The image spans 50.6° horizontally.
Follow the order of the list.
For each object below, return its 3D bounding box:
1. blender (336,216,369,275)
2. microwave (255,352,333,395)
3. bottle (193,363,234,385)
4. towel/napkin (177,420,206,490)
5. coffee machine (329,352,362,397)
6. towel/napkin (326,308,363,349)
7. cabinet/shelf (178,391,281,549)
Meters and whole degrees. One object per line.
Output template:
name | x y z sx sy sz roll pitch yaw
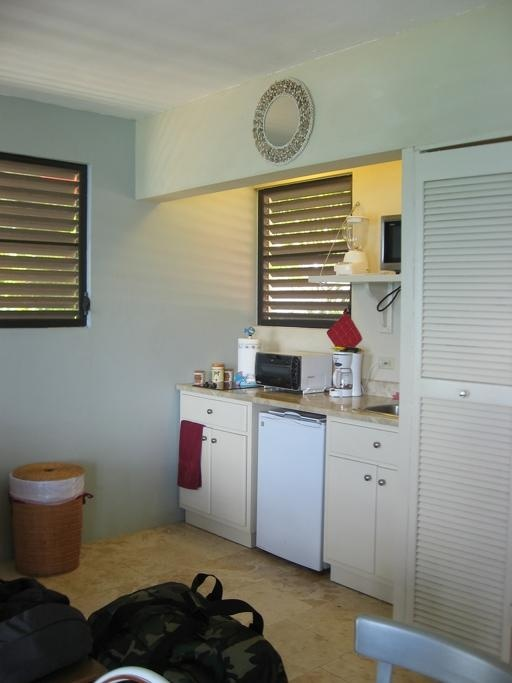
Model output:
blender | 0.571 -0.588 3.243 0.180 0.406 0.274 1 0 20
microwave | 0.272 0.192 3.441 0.276 0.228 0.344 2 0 -40
bottle | -0.334 0.221 3.791 0.330 0.173 0.123 3 3 44
towel/napkin | -0.437 0.749 3.598 0.230 0.424 0.041 -6 -12 43
coffee machine | 0.557 0.192 3.235 0.235 0.270 0.107 1 -1 -37
towel/napkin | 0.573 -0.083 3.479 0.017 0.209 0.194 5 -40 -40
cabinet/shelf | -0.134 0.791 3.643 0.535 0.960 0.722 -1 2 -44
